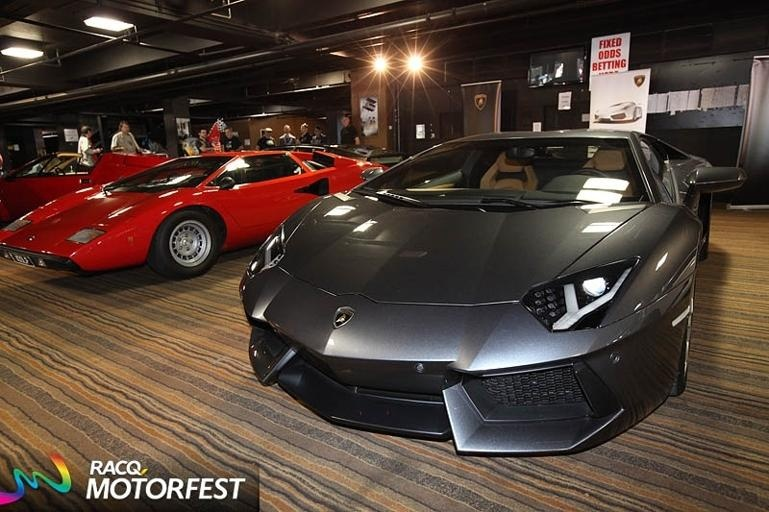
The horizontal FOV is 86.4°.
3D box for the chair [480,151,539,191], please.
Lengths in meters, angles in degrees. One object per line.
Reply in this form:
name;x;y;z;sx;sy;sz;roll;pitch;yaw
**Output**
chair;0.856;-0.504;2.794;0.357;0.317;0.434;8;-4;14
